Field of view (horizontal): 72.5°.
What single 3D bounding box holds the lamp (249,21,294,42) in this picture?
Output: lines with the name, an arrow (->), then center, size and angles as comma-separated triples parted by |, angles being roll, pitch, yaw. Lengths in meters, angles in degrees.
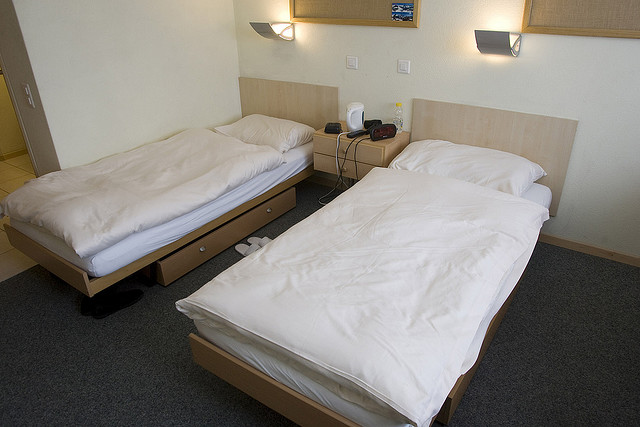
lamp -> -0.476, -1.832, 4.419 | 0.243, 0.190, 0.402 | 25, 38, 37

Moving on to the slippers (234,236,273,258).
slippers -> -0.606, 0.235, 3.779 | 0.265, 0.074, 0.198 | 24, 43, 34

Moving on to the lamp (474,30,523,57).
lamp -> 1.465, -1.422, 3.551 | 0.251, 0.253, 0.267 | 17, 53, 27
